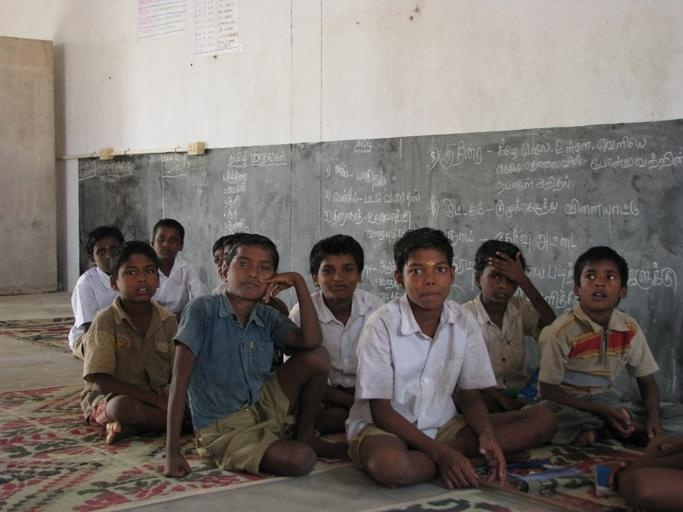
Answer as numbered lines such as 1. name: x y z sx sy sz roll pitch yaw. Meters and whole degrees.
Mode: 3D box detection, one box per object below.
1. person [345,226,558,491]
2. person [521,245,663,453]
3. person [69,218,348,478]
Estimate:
1. person: 0.398 0.353 2.563 0.764 0.902 0.688 -2 6 -2
2. person: 1.114 0.378 2.949 0.545 0.808 0.536 -3 9 -10
3. person: -0.558 0.354 2.912 0.742 0.774 1.153 -1 4 -44
